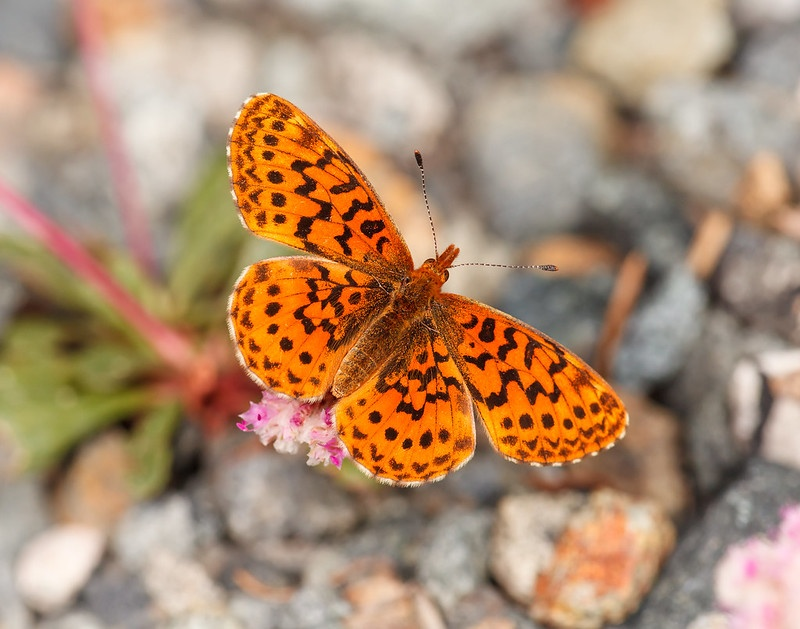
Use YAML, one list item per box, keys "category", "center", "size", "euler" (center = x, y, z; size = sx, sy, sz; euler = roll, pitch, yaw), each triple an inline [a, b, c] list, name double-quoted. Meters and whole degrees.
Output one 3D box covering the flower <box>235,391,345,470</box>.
- category: "flower"
  center: [-0.168, 0.195, 1.469]
  size: [0.160, 0.090, 0.128]
  euler: [26, 91, 11]
